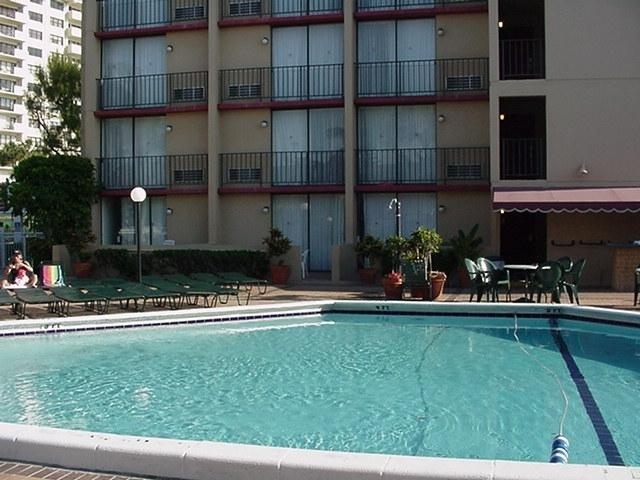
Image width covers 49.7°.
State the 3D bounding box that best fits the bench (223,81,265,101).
[{"bbox_3d":[-3.286,-6.365,29.721,1.696,0.696,0.175,2,8,7],"label":"bench"}]

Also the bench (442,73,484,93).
[{"bbox_3d":[5.830,-6.306,27.909,1.503,0.652,0.342,1,8,4],"label":"bench"}]

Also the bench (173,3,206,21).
[{"bbox_3d":[-5.647,-9.947,30.287,1.478,0.764,0.093,3,8,15],"label":"bench"}]

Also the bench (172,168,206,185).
[{"bbox_3d":[-5.631,-2.745,30.019,1.567,0.653,0.405,5,9,28],"label":"bench"}]

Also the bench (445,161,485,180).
[{"bbox_3d":[5.808,-2.741,27.798,1.431,0.620,0.154,3,8,13],"label":"bench"}]

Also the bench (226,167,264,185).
[{"bbox_3d":[-3.178,-2.744,29.591,1.507,0.673,0.201,2,8,9],"label":"bench"}]

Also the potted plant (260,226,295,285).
[{"bbox_3d":[-1.578,0.611,26.323,0.976,2.073,0.953,3,8,17],"label":"potted plant"}]

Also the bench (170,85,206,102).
[{"bbox_3d":[-5.659,-6.352,30.171,1.580,0.699,0.354,4,9,23],"label":"bench"}]

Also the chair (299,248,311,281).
[{"bbox_3d":[-0.576,1.013,28.235,0.725,1.234,0.786,1,2,17],"label":"chair"}]
